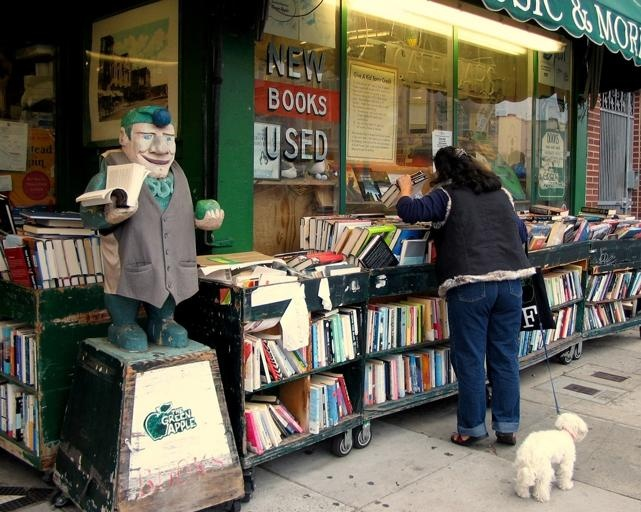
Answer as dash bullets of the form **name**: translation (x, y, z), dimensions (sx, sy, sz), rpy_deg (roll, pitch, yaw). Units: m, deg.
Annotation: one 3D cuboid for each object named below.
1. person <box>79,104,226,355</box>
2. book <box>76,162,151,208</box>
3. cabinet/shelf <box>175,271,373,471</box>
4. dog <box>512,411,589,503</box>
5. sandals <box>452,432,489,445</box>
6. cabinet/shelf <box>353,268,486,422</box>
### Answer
- **person**: translation (-1.027, -0.179, 3.369), dimensions (0.476, 1.440, 0.730), rpy_deg (4, 8, 35)
- **book**: translation (-1.127, -0.382, 3.001), dimensions (0.206, 0.224, 0.312), rpy_deg (-2, 3, 21)
- **cabinet/shelf**: translation (-0.267, 0.732, 3.884), dimensions (1.173, 1.315, 0.680), rpy_deg (-5, 7, -38)
- **dog**: translation (1.463, 1.261, 3.543), dimensions (0.655, 0.446, 0.205), rpy_deg (-6, 11, -34)
- **sandals**: translation (1.103, 1.362, 4.130), dimensions (0.244, 0.081, 0.102), rpy_deg (-5, 2, 32)
- **cabinet/shelf**: translation (0.704, 0.731, 4.592), dimensions (0.888, 0.906, 0.326), rpy_deg (-5, 4, -23)
